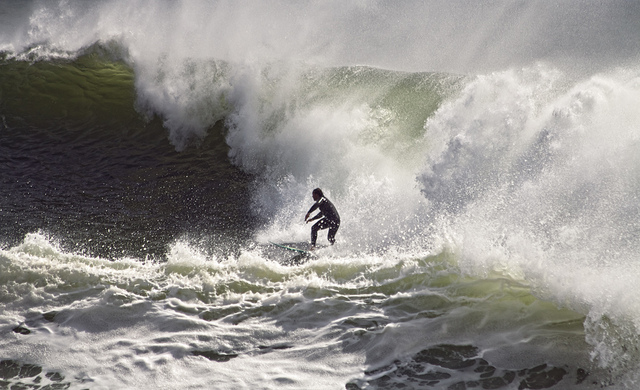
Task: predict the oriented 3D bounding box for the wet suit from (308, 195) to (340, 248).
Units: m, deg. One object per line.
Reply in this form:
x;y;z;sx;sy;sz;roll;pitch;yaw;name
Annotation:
0.066;0.800;22.464;0.895;0.731;1.348;4;50;11;wet suit
